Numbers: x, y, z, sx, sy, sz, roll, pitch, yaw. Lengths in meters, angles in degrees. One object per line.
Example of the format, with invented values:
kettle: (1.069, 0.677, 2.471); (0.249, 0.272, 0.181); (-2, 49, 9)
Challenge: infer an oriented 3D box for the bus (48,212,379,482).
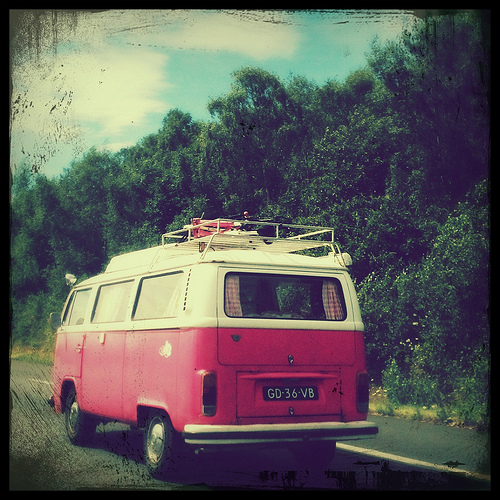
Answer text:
bus: (-0.652, 1.145, 8.840); (2.150, 2.789, 4.165); (7, -7, -30)
